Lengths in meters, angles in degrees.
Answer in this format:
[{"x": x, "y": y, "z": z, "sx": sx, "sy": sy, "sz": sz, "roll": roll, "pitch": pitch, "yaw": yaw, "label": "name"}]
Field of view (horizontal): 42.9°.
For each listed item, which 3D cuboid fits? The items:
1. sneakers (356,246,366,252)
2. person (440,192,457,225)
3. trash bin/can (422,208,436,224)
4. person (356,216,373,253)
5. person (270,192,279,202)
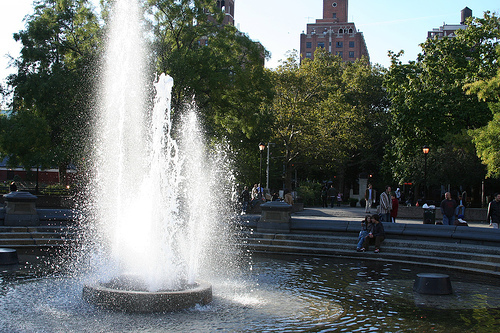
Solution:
[{"x": 4.924, "y": 3.692, "z": 28.061, "sx": 0.396, "sy": 0.181, "sz": 0.144, "roll": 8, "pitch": -2, "yaw": -11, "label": "sneakers"}, {"x": 9.678, "y": 2.024, "z": 30.892, "sx": 0.714, "sy": 1.525, "sz": 1.502, "roll": 5, "pitch": 9, "yaw": 17, "label": "person"}, {"x": 8.921, "y": 2.450, "z": 31.463, "sx": 0.535, "sy": 0.772, "sz": 0.708, "roll": 4, "pitch": 9, "yaw": 12, "label": "trash bin/can"}, {"x": 5.089, "y": 2.968, "z": 28.260, "sx": 0.584, "sy": 1.512, "sz": 0.868, "roll": 8, "pitch": 11, "yaw": 36, "label": "person"}, {"x": 2.090, "y": 2.532, "z": 50.590, "sx": 0.479, "sy": 0.597, "sz": 0.876, "roll": -1, "pitch": -2, "yaw": 18, "label": "person"}]
